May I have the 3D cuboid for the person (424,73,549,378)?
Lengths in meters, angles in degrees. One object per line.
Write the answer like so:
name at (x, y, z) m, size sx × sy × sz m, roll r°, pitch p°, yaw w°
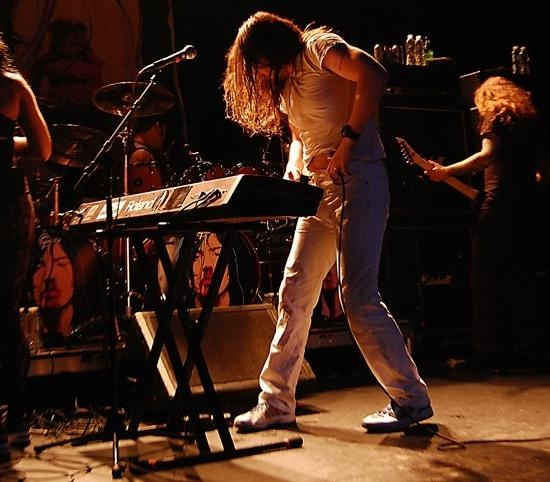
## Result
person at (1.443, -0.136, 3.458) m, size 0.762 × 1.752 × 0.308 m, roll -3°, pitch -2°, yaw -18°

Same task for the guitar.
guitar at (1.084, -0.487, 3.441) m, size 0.563 × 0.084 × 0.382 m, roll 27°, pitch -23°, yaw -2°

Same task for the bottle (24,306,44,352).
bottle at (-1.398, 0.511, 3.135) m, size 0.046 × 0.203 × 0.207 m, roll -6°, pitch 8°, yaw -7°

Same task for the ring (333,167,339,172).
ring at (0.233, -0.278, 2.081) m, size 0.017 × 0.019 × 0.005 m, roll -23°, pitch -15°, yaw 28°

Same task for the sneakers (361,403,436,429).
sneakers at (0.493, 0.684, 2.197) m, size 0.274 × 0.134 × 0.117 m, roll -1°, pitch -15°, yaw -3°

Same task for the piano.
piano at (-0.245, -0.127, 1.912) m, size 0.801 × 0.115 × 0.331 m, roll -6°, pitch -4°, yaw 12°

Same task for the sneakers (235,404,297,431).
sneakers at (-0.046, 0.740, 2.293) m, size 0.262 × 0.124 × 0.099 m, roll 7°, pitch -15°, yaw -22°

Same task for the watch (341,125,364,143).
watch at (0.286, -0.392, 2.036) m, size 0.056 × 0.035 × 0.055 m, roll 31°, pitch -17°, yaw -22°

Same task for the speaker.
speaker at (-0.268, 0.541, 2.611) m, size 0.744 × 0.537 × 0.480 m, roll 4°, pitch -23°, yaw -35°
